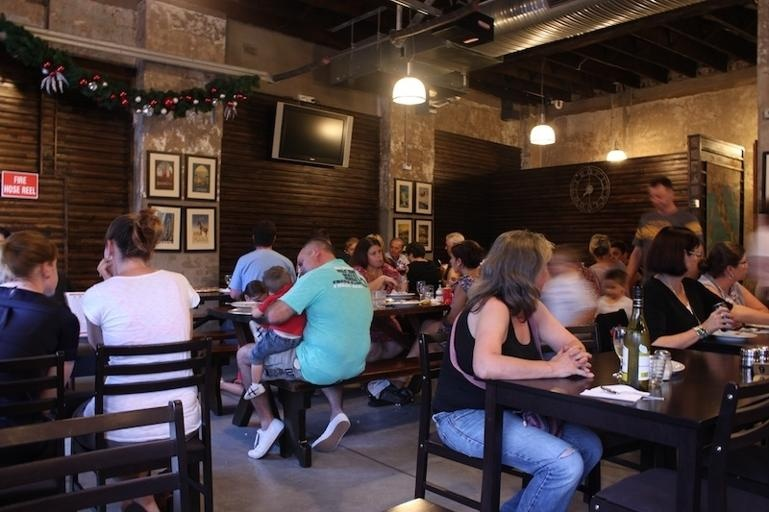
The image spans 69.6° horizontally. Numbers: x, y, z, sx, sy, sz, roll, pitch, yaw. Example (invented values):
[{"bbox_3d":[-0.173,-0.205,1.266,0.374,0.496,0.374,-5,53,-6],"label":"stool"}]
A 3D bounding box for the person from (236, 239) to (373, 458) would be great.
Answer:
[{"bbox_3d":[-0.575,0.761,4.540,1.055,1.723,0.943,-9,-14,40],"label":"person"}]

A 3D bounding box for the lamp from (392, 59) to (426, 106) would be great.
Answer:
[{"bbox_3d":[0.279,-2.198,7.193,0.595,0.583,0.557,0,6,-7],"label":"lamp"}]

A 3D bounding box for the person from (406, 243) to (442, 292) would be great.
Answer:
[{"bbox_3d":[0.418,0.177,6.890,0.531,0.716,0.500,-3,1,-23],"label":"person"}]

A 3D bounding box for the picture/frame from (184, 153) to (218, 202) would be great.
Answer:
[{"bbox_3d":[-2.557,-1.101,7.602,0.061,0.788,0.727,1,2,43],"label":"picture/frame"}]

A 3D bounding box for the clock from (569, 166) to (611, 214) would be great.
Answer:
[{"bbox_3d":[3.785,-1.217,10.095,0.948,1.034,0.078,2,-1,44],"label":"clock"}]

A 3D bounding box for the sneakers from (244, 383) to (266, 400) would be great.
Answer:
[{"bbox_3d":[-1.035,1.052,4.322,0.089,0.084,0.190,28,-30,-32],"label":"sneakers"}]

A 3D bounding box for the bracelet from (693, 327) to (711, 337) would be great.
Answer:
[{"bbox_3d":[2.040,0.484,3.567,0.061,0.081,0.075,-4,-1,-3],"label":"bracelet"}]

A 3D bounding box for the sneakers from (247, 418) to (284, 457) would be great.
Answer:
[{"bbox_3d":[-0.945,1.448,4.389,0.149,0.321,0.126,41,8,-1],"label":"sneakers"}]

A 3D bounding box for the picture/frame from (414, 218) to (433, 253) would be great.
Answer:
[{"bbox_3d":[0.658,-0.369,9.567,0.056,0.684,0.640,-8,-10,39],"label":"picture/frame"}]

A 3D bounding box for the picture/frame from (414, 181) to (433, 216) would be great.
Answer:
[{"bbox_3d":[0.684,-1.065,10.060,0.054,0.671,0.679,-2,-2,43],"label":"picture/frame"}]

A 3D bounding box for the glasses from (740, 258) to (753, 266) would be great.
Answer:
[{"bbox_3d":[3.472,0.052,5.299,0.100,0.048,0.139,4,5,40],"label":"glasses"}]

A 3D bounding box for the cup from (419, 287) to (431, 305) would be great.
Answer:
[{"bbox_3d":[0.408,0.394,5.794,0.148,0.224,0.147,-2,-2,0],"label":"cup"}]

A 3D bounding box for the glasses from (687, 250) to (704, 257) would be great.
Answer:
[{"bbox_3d":[2.196,-0.021,3.923,0.105,0.034,0.117,-4,1,-35],"label":"glasses"}]

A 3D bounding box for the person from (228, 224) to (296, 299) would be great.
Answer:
[{"bbox_3d":[-1.382,0.217,6.441,0.816,1.130,0.636,0,-1,-6],"label":"person"}]

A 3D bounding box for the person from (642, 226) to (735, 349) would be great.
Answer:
[{"bbox_3d":[2.234,0.251,4.049,0.582,0.694,0.978,-3,0,22],"label":"person"}]

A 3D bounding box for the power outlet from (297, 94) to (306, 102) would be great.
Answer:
[{"bbox_3d":[-1.302,-2.466,8.677,0.147,0.100,0.092,4,24,-18],"label":"power outlet"}]
